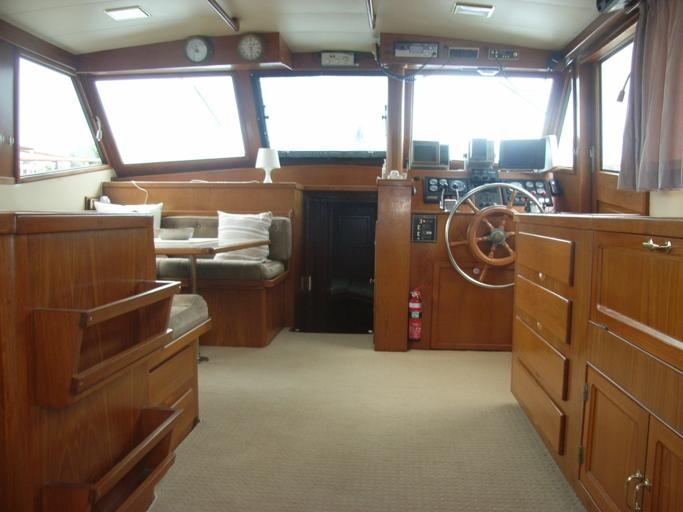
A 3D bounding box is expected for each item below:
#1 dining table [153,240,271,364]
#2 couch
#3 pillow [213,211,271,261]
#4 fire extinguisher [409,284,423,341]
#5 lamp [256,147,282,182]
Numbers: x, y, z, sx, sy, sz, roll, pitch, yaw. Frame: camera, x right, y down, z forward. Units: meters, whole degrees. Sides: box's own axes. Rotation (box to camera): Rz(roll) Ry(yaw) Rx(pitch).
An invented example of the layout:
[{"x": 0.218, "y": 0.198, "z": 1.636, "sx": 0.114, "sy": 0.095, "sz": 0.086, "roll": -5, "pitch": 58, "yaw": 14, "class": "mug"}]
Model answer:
[{"x": -0.755, "y": 0.186, "z": 3.302, "sx": 0.700, "sy": 0.754, "sz": 0.746, "roll": 1, "pitch": 4, "yaw": 3, "class": "dining table"}, {"x": -0.942, "y": 0.292, "z": 3.964, "sx": 1.049, "sy": 1.084, "sz": 0.885, "roll": 0, "pitch": -1, "yaw": 10, "class": "couch"}, {"x": -0.724, "y": -0.140, "z": 3.870, "sx": 0.333, "sy": 0.393, "sz": 0.136, "roll": -2, "pitch": -8, "yaw": -3, "class": "pillow"}, {"x": 0.517, "y": 0.414, "z": 3.647, "sx": 0.103, "sy": 0.373, "sz": 0.111, "roll": 2, "pitch": 10, "yaw": 9, "class": "fire extinguisher"}, {"x": -0.641, "y": -0.786, "z": 4.545, "sx": 0.148, "sy": 0.280, "sz": 0.178, "roll": -8, "pitch": 13, "yaw": -41, "class": "lamp"}]
